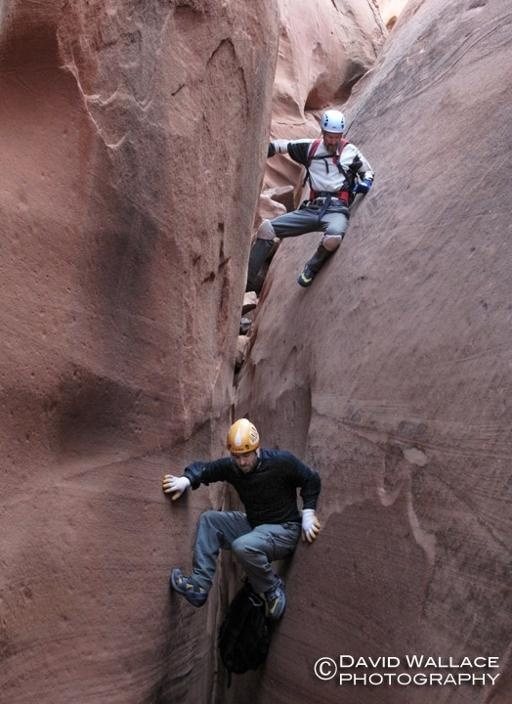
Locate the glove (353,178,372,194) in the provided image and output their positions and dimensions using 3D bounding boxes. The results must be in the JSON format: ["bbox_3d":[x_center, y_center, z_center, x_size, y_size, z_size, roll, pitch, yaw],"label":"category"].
[{"bbox_3d":[0.797,-1.238,5.390,0.152,0.070,0.164,14,51,18],"label":"glove"}]

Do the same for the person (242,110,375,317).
[{"bbox_3d":[0.398,-1.153,5.707,0.921,0.689,1.519,10,90,12],"label":"person"}]

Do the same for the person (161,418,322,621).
[{"bbox_3d":[-0.103,0.876,3.845,0.794,0.542,1.013,6,80,-8],"label":"person"}]

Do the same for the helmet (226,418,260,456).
[{"bbox_3d":[-0.069,0.451,3.754,0.130,0.181,0.175,0,89,6],"label":"helmet"}]
